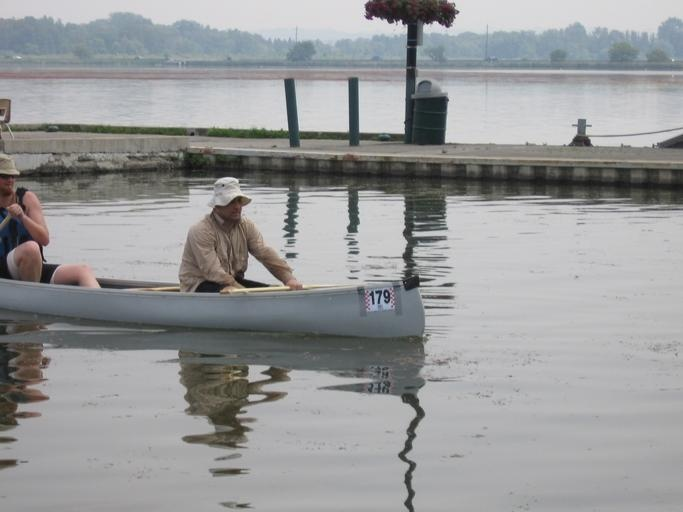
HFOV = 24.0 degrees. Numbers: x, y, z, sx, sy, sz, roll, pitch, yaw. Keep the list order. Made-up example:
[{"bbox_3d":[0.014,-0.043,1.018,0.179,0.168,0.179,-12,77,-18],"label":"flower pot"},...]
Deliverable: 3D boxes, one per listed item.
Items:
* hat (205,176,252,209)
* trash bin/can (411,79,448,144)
[{"bbox_3d":[-1.584,-0.884,22.455,0.545,0.269,0.410,-2,3,36],"label":"hat"},{"bbox_3d":[2.002,-3.282,36.668,0.796,1.472,1.341,1,4,3],"label":"trash bin/can"}]
